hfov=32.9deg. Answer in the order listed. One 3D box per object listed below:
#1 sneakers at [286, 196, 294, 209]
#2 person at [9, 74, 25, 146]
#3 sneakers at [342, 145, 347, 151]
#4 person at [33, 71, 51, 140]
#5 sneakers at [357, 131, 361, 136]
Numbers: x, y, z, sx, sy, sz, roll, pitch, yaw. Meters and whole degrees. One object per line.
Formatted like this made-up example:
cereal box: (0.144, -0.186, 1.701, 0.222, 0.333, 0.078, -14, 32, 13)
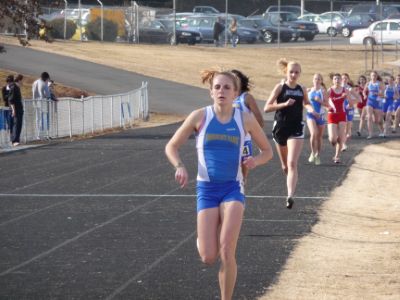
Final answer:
sneakers: (1.646, 1.007, 12.507, 0.104, 0.280, 0.129, 7, 47, 1)
person: (-5.247, -1.065, 19.429, 0.382, 2.094, 0.692, -2, 15, -9)
sneakers: (4.030, -0.049, 18.999, 0.124, 0.132, 0.345, -3, -3, 6)
person: (-4.805, -1.317, 20.714, 0.505, 2.210, 0.785, -3, 15, -12)
sneakers: (5.201, -0.533, 22.258, 0.071, 0.195, 0.090, -3, 14, 38)
